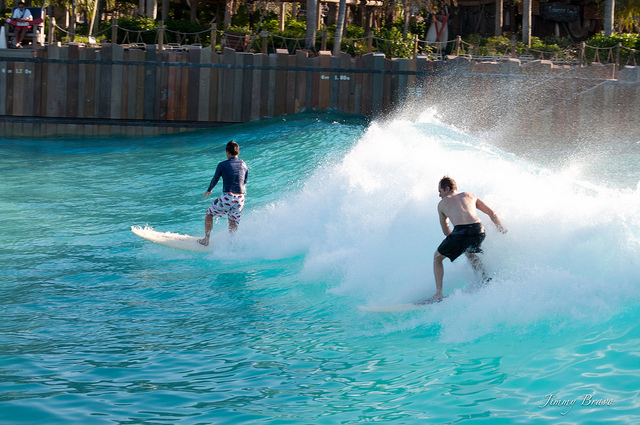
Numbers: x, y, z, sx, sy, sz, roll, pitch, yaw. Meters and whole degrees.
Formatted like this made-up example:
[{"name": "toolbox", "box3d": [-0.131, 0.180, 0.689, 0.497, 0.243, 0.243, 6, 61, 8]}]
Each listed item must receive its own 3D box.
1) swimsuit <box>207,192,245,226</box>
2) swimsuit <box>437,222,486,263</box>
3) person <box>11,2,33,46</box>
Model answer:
[{"name": "swimsuit", "box3d": [-1.594, -0.089, 12.195, 0.613, 0.556, 0.316, 13, 21, -22]}, {"name": "swimsuit", "box3d": [2.014, 0.398, 9.761, 0.683, 0.532, 0.410, -1, 10, -22]}, {"name": "person", "box3d": [-8.588, -5.475, 20.149, 0.562, 1.321, 0.807, 1, 7, -23]}]
